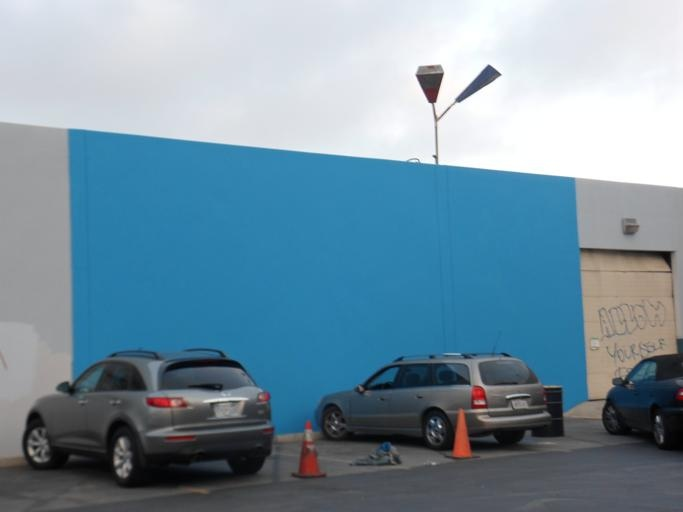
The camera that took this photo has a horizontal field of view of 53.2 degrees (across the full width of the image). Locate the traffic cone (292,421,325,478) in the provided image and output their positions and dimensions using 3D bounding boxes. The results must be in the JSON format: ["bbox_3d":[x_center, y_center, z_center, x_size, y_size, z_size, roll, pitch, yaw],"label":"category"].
[{"bbox_3d":[-0.591,3.405,12.224,0.586,1.003,1.229,-1,-5,-3],"label":"traffic cone"}]

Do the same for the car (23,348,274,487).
[{"bbox_3d":[-3.476,2.662,11.815,2.206,1.729,3.551,6,-7,-44],"label":"car"}]

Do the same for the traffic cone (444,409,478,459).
[{"bbox_3d":[2.408,3.533,13.581,0.422,0.945,0.701,-2,-5,11],"label":"traffic cone"}]

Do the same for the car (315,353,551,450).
[{"bbox_3d":[1.959,3.183,15.423,4.326,1.615,2.121,-4,-7,44],"label":"car"}]
